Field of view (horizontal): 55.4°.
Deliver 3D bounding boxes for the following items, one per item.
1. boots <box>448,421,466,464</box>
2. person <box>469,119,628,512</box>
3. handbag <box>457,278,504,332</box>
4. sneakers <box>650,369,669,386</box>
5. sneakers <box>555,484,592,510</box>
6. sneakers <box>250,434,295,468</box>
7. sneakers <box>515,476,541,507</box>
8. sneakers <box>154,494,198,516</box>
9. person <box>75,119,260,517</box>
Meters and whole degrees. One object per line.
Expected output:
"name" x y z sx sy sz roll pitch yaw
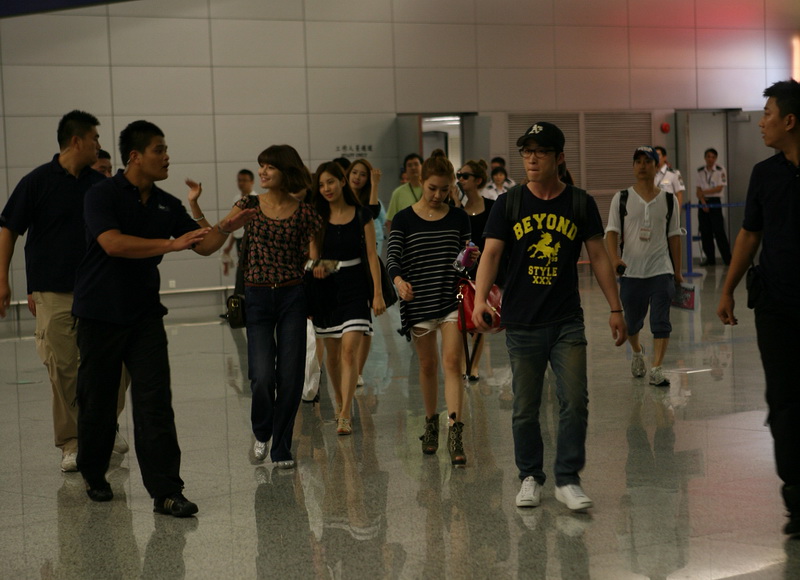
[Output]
"boots" 0.388 1.030 5.169 0.120 0.287 0.165 -1 5 3
"person" 0.869 0.144 4.459 0.861 2.229 0.360 -1 4 8
"handbag" 0.541 0.117 5.244 0.179 0.356 0.424 -11 -2 22
"sneakers" 2.331 0.802 6.882 0.101 0.139 0.186 0 -6 -13
"sneakers" 1.006 1.191 4.440 0.087 0.111 0.251 -3 2 -24
"sneakers" -0.902 1.154 5.330 0.141 0.189 0.403 -19 26 -39
"sneakers" 0.759 1.191 4.493 0.081 0.106 0.224 -1 0 12
"sneakers" -1.324 1.277 4.526 0.233 0.127 0.118 -1 -2 23
"person" -1.572 0.152 4.654 0.866 2.332 0.464 -1 4 8
